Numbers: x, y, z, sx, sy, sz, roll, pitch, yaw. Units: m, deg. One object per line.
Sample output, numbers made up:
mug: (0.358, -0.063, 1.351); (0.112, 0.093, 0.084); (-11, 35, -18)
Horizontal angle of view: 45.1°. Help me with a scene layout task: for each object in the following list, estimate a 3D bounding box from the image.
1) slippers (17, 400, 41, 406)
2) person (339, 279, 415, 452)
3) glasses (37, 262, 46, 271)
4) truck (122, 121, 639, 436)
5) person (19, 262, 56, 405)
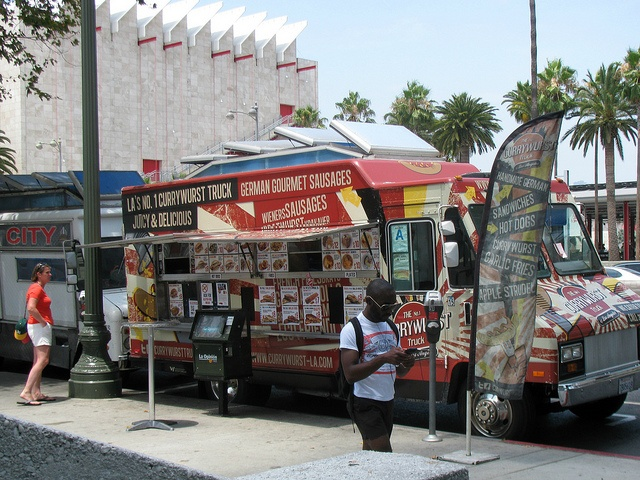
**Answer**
slippers: (-4.881, 2.714, 12.952); (0.313, 0.087, 0.138); (0, -1, 1)
person: (0.557, 1.287, 7.754); (0.697, 1.767, 0.617); (0, -1, 1)
glasses: (-4.886, 0.481, 13.565); (0.069, 0.069, 0.054); (-26, 5, 18)
truck: (0.922, 0.388, 12.928); (7.384, 3.963, 4.612); (-2, 1, 40)
person: (-4.771, 1.607, 13.074); (0.536, 2.344, 0.619); (0, -1, -20)
